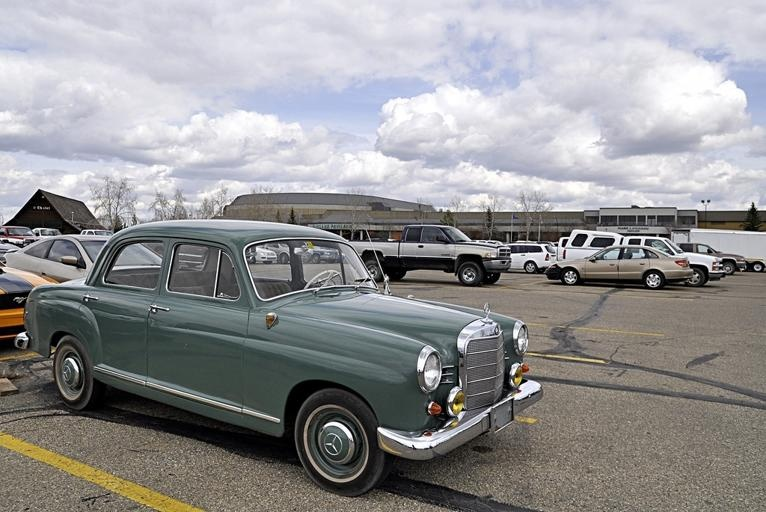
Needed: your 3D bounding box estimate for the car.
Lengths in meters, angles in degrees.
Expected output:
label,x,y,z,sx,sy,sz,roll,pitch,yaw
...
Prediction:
label,x,y,z,sx,sy,sz,roll,pitch,yaw
car,-1.579,0.693,5.313,5.731,1.814,2.310,3,7,31
